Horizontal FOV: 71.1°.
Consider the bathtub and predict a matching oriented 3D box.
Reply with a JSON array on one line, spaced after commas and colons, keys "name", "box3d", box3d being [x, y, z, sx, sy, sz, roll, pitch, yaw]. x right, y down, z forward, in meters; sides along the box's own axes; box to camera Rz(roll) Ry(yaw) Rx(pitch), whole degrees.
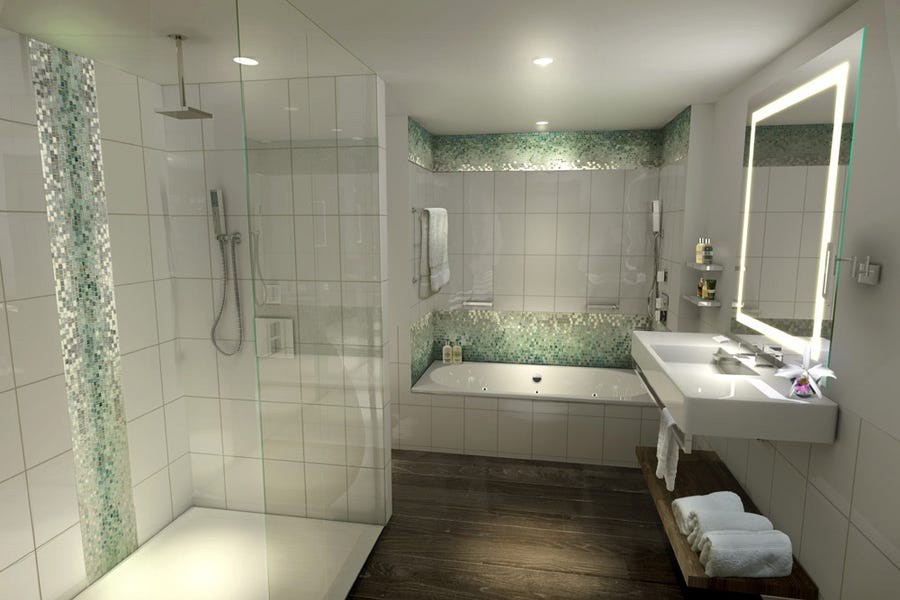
[{"name": "bathtub", "box3d": [0.835, 0.790, 6.104, 1.537, 0.246, 0.727, 1, 9, 9]}]

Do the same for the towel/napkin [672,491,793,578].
[{"name": "towel/napkin", "box3d": [1.638, 1.352, 3.669, 0.495, 0.272, 0.522, 0, 9, -4]}]

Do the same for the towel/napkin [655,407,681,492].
[{"name": "towel/napkin", "box3d": [1.409, 0.932, 4.007, 0.079, 0.348, 0.393, 11, 1, 20]}]
